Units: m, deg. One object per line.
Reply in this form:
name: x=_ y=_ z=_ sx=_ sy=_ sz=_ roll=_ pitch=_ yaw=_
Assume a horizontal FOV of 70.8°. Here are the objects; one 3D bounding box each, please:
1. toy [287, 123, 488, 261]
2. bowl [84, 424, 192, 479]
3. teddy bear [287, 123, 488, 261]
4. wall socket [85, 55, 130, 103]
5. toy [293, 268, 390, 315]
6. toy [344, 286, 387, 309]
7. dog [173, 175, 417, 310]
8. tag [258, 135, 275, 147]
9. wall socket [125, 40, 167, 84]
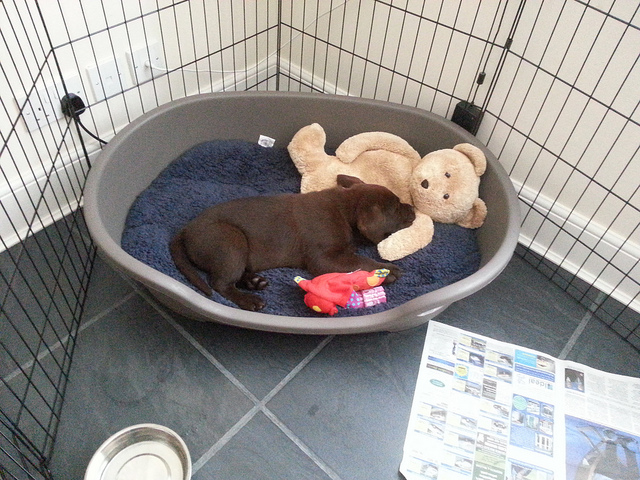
toy: x=0.357 y=-0.272 z=2.473 sx=0.804 sy=0.710 sz=0.300 roll=-6 pitch=-16 yaw=3
bowl: x=-0.622 y=0.766 z=1.565 sx=0.340 sy=0.146 sz=0.191 roll=-2 pitch=26 yaw=-13
teddy bear: x=0.347 y=-0.287 z=2.481 sx=0.802 sy=0.713 sz=0.300 roll=-6 pitch=-13 yaw=5
wall socket: x=-1.045 y=-0.806 z=2.237 sx=0.041 sy=0.220 sz=0.217 roll=22 pitch=30 yaw=36
toy: x=0.120 y=0.222 z=1.945 sx=0.448 sy=0.175 sz=0.116 roll=-6 pitch=26 yaw=-21
toy: x=0.192 y=0.249 z=1.974 sx=0.139 sy=0.036 sz=0.095 roll=-2 pitch=41 yaw=-4
dog: x=-0.086 y=-0.038 z=2.015 sx=0.886 sy=0.347 sz=0.535 roll=-7 pitch=43 yaw=-9
tag: x=-0.305 y=-0.567 z=2.553 sx=0.070 sy=0.053 sz=0.007 roll=8 pitch=32 yaw=-7
wall socket: x=-0.896 y=-0.920 z=2.334 sx=0.075 sy=0.169 sz=0.184 roll=30 pitch=50 yaw=22
